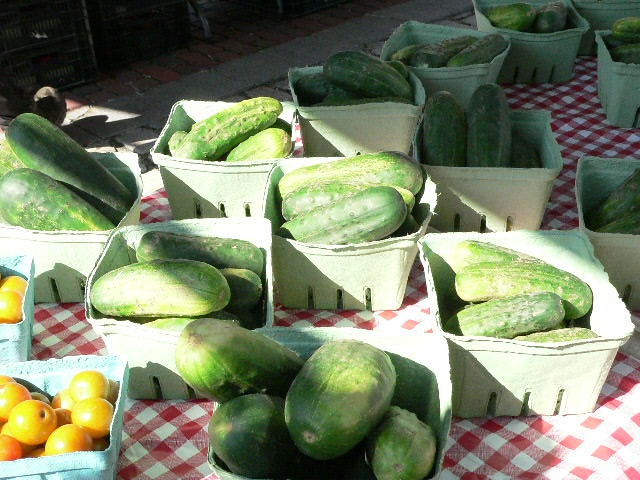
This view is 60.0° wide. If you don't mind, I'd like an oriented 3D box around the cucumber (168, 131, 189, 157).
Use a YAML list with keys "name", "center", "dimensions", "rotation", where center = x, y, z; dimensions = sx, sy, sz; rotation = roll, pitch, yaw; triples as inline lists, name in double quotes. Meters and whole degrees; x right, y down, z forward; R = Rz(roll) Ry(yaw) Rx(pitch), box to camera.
- name: "cucumber"
  center: [-0.722, -0.502, 2.869]
  dimensions: [0.130, 0.050, 0.141]
  rotation: [1, 69, 21]

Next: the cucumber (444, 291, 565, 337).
- name: "cucumber"
  center: [0.638, 0.258, 1.917]
  dimensions: [0.365, 0.118, 0.149]
  rotation: [-9, 30, 8]

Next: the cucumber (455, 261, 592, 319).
- name: "cucumber"
  center: [0.724, 0.192, 2.108]
  dimensions: [0.494, 0.174, 0.195]
  rotation: [3, 42, 0]

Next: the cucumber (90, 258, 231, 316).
- name: "cucumber"
  center: [-0.559, 0.164, 2.045]
  dimensions: [0.488, 0.174, 0.199]
  rotation: [1, 5, 2]

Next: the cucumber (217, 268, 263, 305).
- name: "cucumber"
  center: [-0.289, 0.177, 2.092]
  dimensions: [0.130, 0.090, 0.158]
  rotation: [-1, 18, 2]

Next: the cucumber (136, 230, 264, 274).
- name: "cucumber"
  center: [-0.510, 0.069, 2.256]
  dimensions: [0.493, 0.199, 0.161]
  rotation: [4, 59, -34]

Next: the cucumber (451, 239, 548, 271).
- name: "cucumber"
  center: [0.682, 0.053, 2.110]
  dimensions: [0.289, 0.082, 0.129]
  rotation: [11, -11, 4]
